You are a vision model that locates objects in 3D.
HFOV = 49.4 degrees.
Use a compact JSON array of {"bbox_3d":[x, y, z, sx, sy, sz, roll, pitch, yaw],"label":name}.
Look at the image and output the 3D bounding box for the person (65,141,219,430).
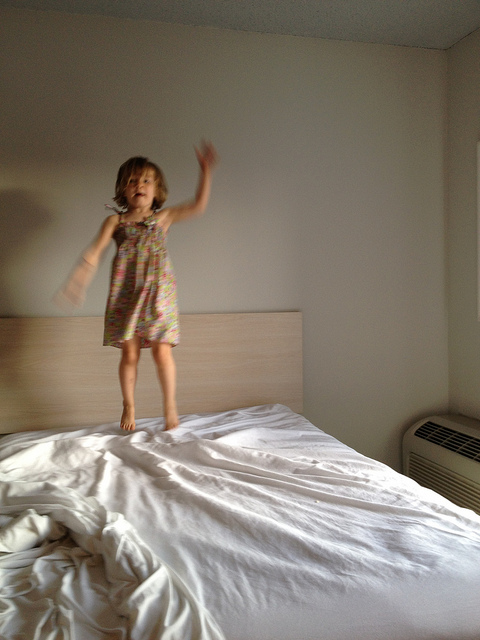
[{"bbox_3d":[-0.367,-0.118,1.991,0.541,1.089,0.231,0,5,-5],"label":"person"}]
